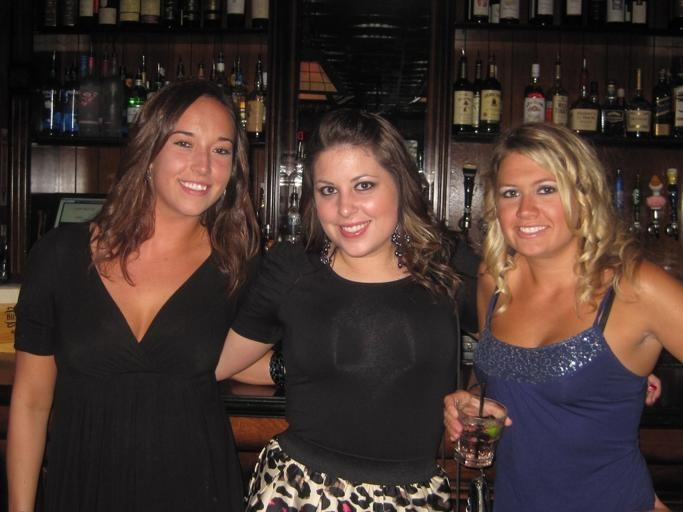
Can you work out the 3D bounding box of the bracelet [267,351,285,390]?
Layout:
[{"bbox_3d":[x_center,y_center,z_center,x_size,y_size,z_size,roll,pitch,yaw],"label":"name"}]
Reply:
[{"bbox_3d":[-0.297,0.535,3.074,0.070,0.196,0.162,-2,8,5],"label":"bracelet"}]

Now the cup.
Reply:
[{"bbox_3d":[0.469,0.611,2.431,0.237,0.272,0.252,5,1,0],"label":"cup"}]
